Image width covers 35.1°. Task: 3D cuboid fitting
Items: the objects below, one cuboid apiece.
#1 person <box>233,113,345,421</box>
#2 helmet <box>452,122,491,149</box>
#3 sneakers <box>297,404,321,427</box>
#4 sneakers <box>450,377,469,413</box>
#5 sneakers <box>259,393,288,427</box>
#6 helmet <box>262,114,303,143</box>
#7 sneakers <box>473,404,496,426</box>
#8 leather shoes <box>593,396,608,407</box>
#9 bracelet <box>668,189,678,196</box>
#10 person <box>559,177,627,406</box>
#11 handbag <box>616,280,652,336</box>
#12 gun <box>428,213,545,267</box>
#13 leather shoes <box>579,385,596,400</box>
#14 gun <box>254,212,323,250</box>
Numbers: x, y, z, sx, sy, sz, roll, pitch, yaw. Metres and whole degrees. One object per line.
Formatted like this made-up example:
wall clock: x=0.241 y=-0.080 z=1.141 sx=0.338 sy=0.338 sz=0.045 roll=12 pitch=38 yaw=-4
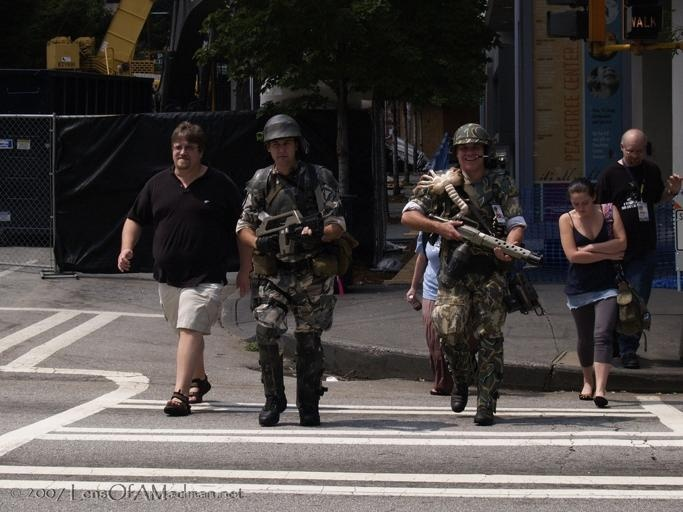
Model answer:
person: x=-0.399 y=0.127 z=9.495 sx=0.953 sy=2.673 sz=0.565 roll=0 pitch=7 yaw=-6
helmet: x=1.199 y=-1.090 z=9.780 sx=0.337 sy=0.203 sz=0.466 roll=2 pitch=8 yaw=7
sneakers: x=-0.273 y=1.395 z=9.476 sx=0.194 sy=0.167 sz=0.177 roll=1 pitch=7 yaw=0
sneakers: x=1.083 y=1.269 z=9.822 sx=0.115 sy=0.332 sz=0.145 roll=3 pitch=-3 yaw=15
sneakers: x=-0.614 y=1.348 z=9.525 sx=0.179 sy=0.248 sz=0.320 roll=3 pitch=8 yaw=17
helmet: x=-0.517 y=-1.156 z=9.580 sx=0.270 sy=0.177 sz=0.269 roll=-8 pitch=10 yaw=12
sneakers: x=1.275 y=1.392 z=9.478 sx=0.191 sy=0.167 sz=0.151 roll=0 pitch=7 yaw=-5
leather shoes: x=2.459 y=1.357 z=10.145 sx=0.137 sy=0.114 sz=0.196 roll=3 pitch=8 yaw=15
bracelet: x=3.537 y=-0.677 z=11.435 sx=0.076 sy=0.056 sz=0.077 roll=1 pitch=3 yaw=18
person: x=2.490 y=0.327 z=10.419 sx=0.569 sy=2.110 sz=0.864 roll=-1 pitch=7 yaw=-11
handbag: x=2.915 y=0.510 z=10.726 sx=0.290 sy=0.536 sz=0.545 roll=-10 pitch=5 yaw=9
gun: x=1.258 y=-0.084 z=9.473 sx=1.171 sy=0.356 sz=0.103 roll=22 pitch=16 yaw=34
leather shoes: x=2.406 y=1.327 z=10.451 sx=0.112 sy=0.123 sz=0.325 roll=-1 pitch=-5 yaw=7
gun: x=-0.454 y=-0.196 z=9.375 sx=0.672 sy=0.474 sz=0.118 roll=-11 pitch=-22 yaw=30
